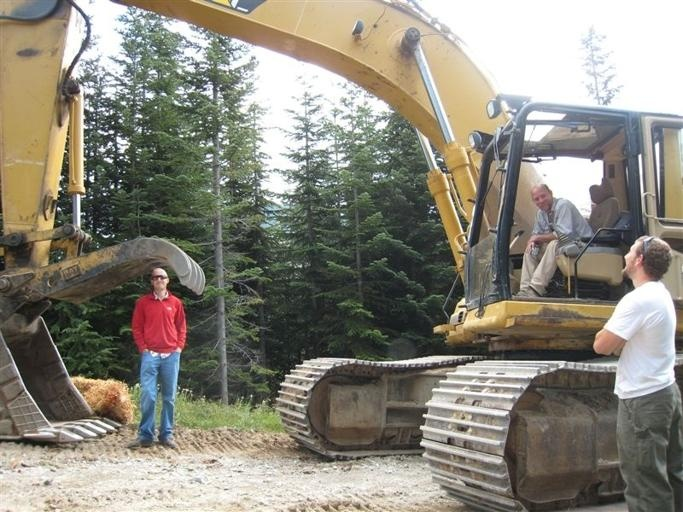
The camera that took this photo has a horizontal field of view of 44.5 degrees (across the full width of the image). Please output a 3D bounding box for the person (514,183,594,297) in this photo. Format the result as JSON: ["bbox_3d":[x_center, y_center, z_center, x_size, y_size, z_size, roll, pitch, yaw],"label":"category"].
[{"bbox_3d":[2.356,-0.202,9.285,0.796,1.033,0.796,3,1,-6],"label":"person"}]

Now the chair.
[{"bbox_3d":[2.861,-0.390,9.526,0.735,0.738,0.614,-14,-4,-27],"label":"chair"}]

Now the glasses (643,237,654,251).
[{"bbox_3d":[2.813,-0.118,7.658,0.098,0.119,0.123,-5,9,-40],"label":"glasses"}]
